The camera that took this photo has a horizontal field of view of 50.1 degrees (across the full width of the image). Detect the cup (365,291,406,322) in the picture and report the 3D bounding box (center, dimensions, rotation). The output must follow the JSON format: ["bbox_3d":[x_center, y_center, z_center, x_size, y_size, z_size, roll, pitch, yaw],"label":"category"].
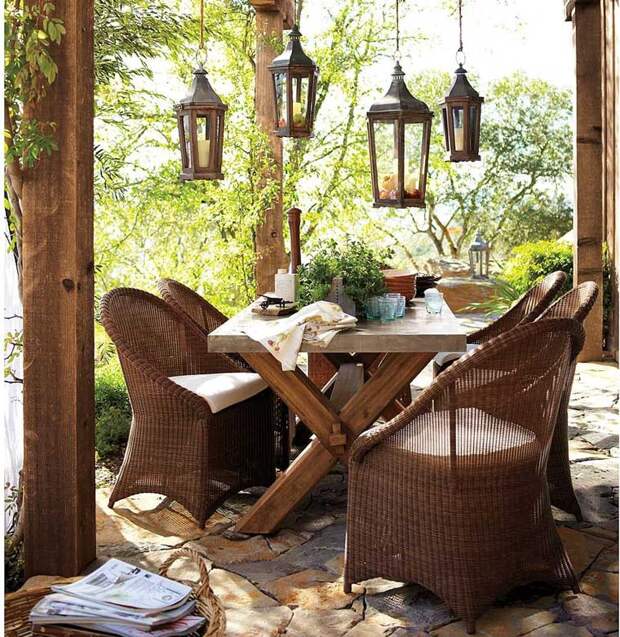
[{"bbox_3d":[0.327,-0.048,2.839,0.127,0.085,0.144,-1,0,-1],"label":"cup"}]
